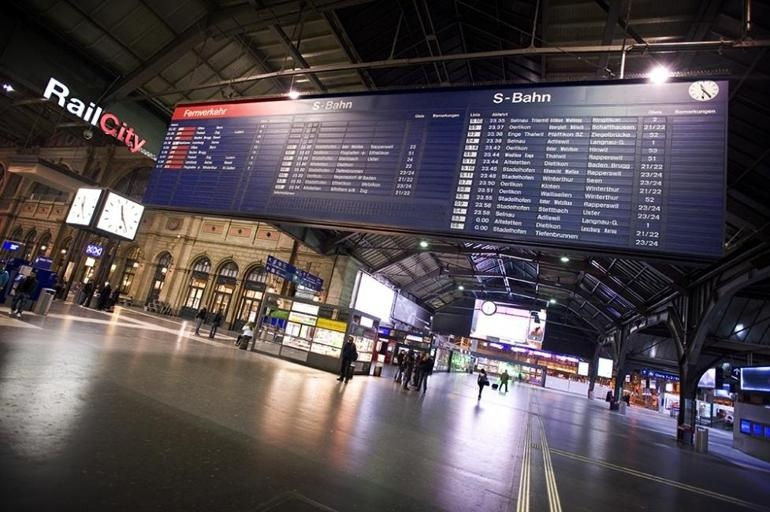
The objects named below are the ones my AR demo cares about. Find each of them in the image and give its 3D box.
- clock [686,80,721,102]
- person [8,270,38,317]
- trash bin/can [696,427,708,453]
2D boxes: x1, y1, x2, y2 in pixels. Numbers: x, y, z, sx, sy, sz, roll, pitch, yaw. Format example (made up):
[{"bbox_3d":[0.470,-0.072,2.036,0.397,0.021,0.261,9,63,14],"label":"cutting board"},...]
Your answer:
[{"bbox_3d":[7.011,-3.622,10.004,0.525,0.511,0.031,7,-16,27],"label":"clock"},{"bbox_3d":[-11.963,1.230,15.057,0.474,1.836,1.524,17,-5,-37],"label":"person"},{"bbox_3d":[13.250,7.670,19.091,0.488,0.841,0.729,9,-6,45],"label":"trash bin/can"}]
